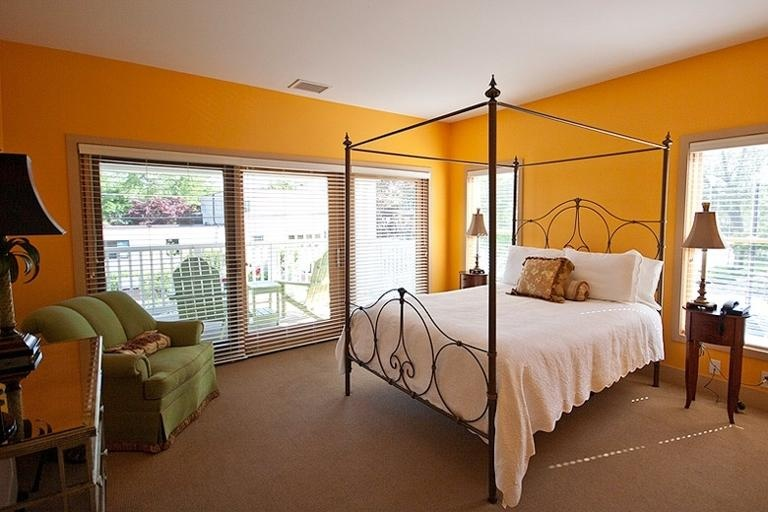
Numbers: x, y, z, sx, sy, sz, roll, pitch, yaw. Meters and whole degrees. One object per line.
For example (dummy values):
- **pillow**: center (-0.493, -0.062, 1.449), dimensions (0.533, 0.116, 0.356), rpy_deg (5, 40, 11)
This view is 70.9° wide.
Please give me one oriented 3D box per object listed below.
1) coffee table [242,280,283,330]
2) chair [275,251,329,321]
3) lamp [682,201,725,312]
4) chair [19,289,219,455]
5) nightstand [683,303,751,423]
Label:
- **coffee table**: center (-1.482, 0.613, 6.500), dimensions (0.471, 0.588, 0.467), rpy_deg (8, 5, 31)
- **chair**: center (-0.935, 0.420, 6.649), dimensions (0.817, 0.892, 0.631), rpy_deg (-1, 0, -25)
- **lamp**: center (3.104, -0.016, 5.234), dimensions (0.337, 1.002, 0.483), rpy_deg (5, 7, 29)
- **chair**: center (-2.412, 0.984, 5.256), dimensions (1.403, 1.311, 1.414), rpy_deg (1, 5, -1)
- **nightstand**: center (3.202, 1.005, 5.213), dimensions (0.574, 1.110, 0.319), rpy_deg (7, 25, 41)
